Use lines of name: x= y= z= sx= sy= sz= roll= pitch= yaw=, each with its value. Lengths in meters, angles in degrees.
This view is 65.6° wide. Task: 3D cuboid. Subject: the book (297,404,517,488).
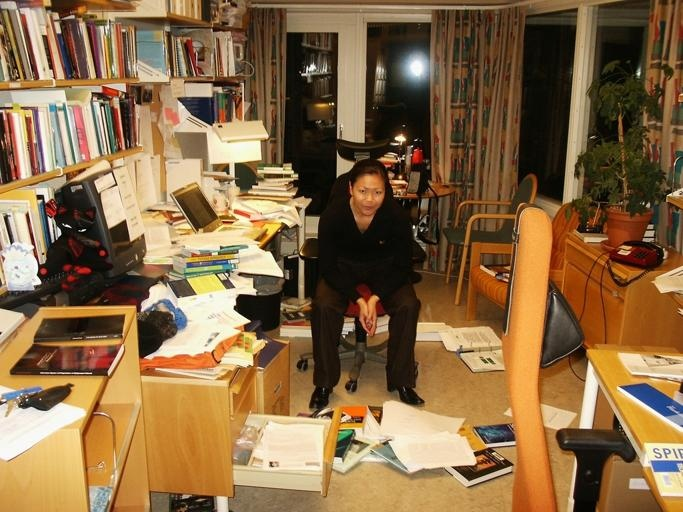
book: x=0.371 y=0.969 z=2.760 sx=0.626 sy=0.078 sz=0.611 roll=-2 pitch=13 yaw=-16

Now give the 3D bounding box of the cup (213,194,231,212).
cup: x=-0.835 y=-0.370 z=3.754 sx=0.156 sy=0.137 sz=0.091 roll=-1 pitch=7 yaw=-24

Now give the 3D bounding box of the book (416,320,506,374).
book: x=0.899 y=0.673 z=3.908 sx=0.425 sy=0.043 sz=0.428 roll=-2 pitch=17 yaw=-2

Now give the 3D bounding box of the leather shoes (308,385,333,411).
leather shoes: x=-0.127 y=0.847 z=3.141 sx=0.081 sy=0.133 sz=0.199 roll=2 pitch=4 yaw=4

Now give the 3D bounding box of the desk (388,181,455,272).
desk: x=0.854 y=-0.422 z=5.188 sx=0.845 sy=0.843 sz=0.756 roll=2 pitch=38 yaw=2

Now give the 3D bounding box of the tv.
tv: x=-1.018 y=-0.132 z=2.264 sx=0.259 sy=0.430 sz=0.446 roll=-3 pitch=18 yaw=3

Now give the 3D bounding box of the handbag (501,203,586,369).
handbag: x=0.588 y=0.109 z=1.516 sx=0.226 sy=0.538 sz=0.334 roll=8 pitch=22 yaw=19

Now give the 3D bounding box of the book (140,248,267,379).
book: x=-0.538 y=0.205 z=2.039 sx=0.375 sy=0.084 sz=0.360 roll=7 pitch=30 yaw=12

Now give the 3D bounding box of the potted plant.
potted plant: x=1.871 y=-0.708 z=3.520 sx=0.554 sy=1.079 sz=1.269 roll=9 pitch=22 yaw=22

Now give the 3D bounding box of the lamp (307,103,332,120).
lamp: x=-0.240 y=-1.546 z=5.685 sx=0.305 sy=0.178 sz=0.158 roll=1 pitch=26 yaw=4

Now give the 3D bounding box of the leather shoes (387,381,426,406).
leather shoes: x=0.394 y=0.829 z=3.262 sx=0.281 sy=0.128 sz=0.092 roll=9 pitch=15 yaw=28

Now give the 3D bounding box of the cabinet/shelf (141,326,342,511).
cabinet/shelf: x=-0.401 y=0.642 z=2.210 sx=0.830 sy=0.485 sz=0.765 roll=0 pitch=11 yaw=0

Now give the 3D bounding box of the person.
person: x=0.166 y=0.143 z=3.255 sx=0.673 sy=1.401 sz=0.943 roll=1 pitch=21 yaw=3

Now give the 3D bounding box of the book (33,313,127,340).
book: x=-0.816 y=0.223 z=1.643 sx=0.243 sy=0.024 sz=0.133 roll=-3 pitch=14 yaw=-9
